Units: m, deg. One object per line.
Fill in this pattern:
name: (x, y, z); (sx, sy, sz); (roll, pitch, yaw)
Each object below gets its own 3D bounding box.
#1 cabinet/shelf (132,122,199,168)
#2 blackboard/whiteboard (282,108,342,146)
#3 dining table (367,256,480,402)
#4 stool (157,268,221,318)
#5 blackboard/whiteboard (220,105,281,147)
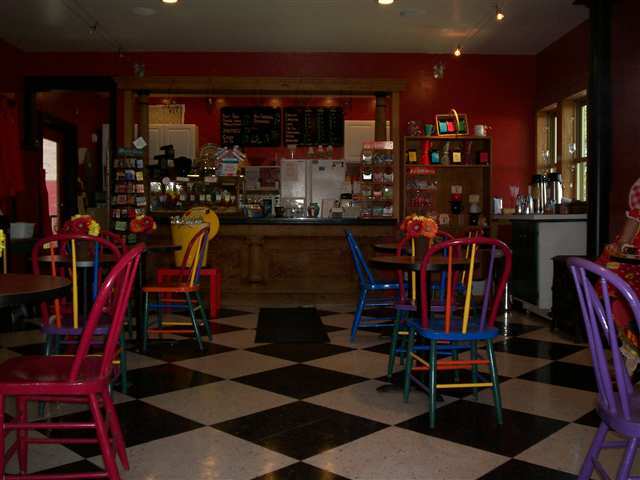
cabinet/shelf: (-2.350, -1.419, 8.665); (1.071, 0.937, 0.366); (0, -1, 1)
blackboard/whiteboard: (-0.136, -1.917, 9.691); (0.843, 0.546, 0.088); (0, 5, -4)
dining table: (0.635, 0.545, 4.075); (0.922, 0.999, 0.923); (2, -2, 3)
stool: (-1.395, 0.516, 6.222); (0.619, 0.562, 0.603); (0, -1, -2)
blackboard/whiteboard: (-1.191, -1.921, 9.783); (1.036, 0.661, 0.133); (1, 6, 7)
